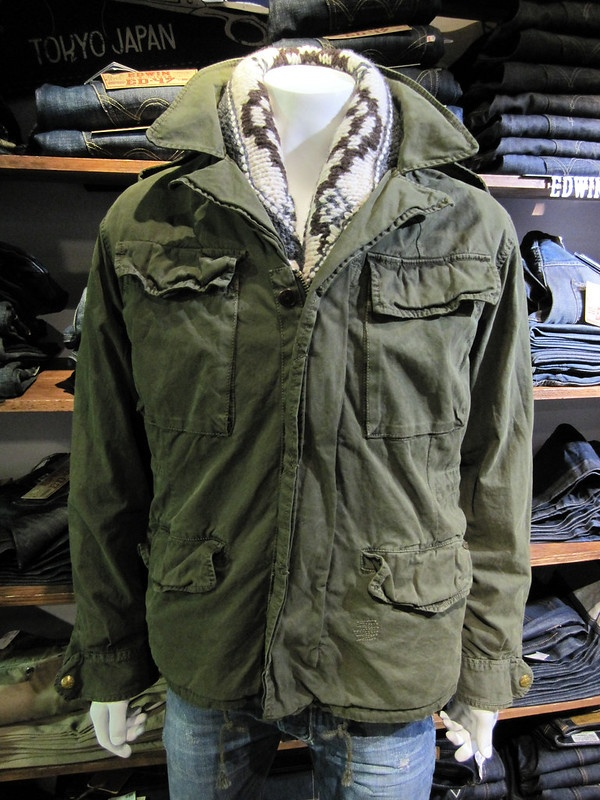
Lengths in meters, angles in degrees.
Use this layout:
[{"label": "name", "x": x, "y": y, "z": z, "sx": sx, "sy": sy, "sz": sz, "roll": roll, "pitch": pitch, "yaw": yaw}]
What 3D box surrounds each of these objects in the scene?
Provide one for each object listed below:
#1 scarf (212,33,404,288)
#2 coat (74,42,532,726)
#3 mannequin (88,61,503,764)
[{"label": "scarf", "x": 0.020, "y": -0.368, "z": 1.255, "sx": 0.331, "sy": 0.364, "sz": 0.120, "roll": 1, "pitch": -9, "yaw": 1}, {"label": "coat", "x": -0.023, "y": -0.027, "z": 1.198, "sx": 0.770, "sy": 1.086, "sz": 0.332, "roll": -2, "pitch": 8, "yaw": 10}, {"label": "mannequin", "x": -0.009, "y": -0.023, "z": 1.390, "sx": 1.186, "sy": 0.969, "sz": 0.354, "roll": 2, "pitch": 0, "yaw": -3}]
